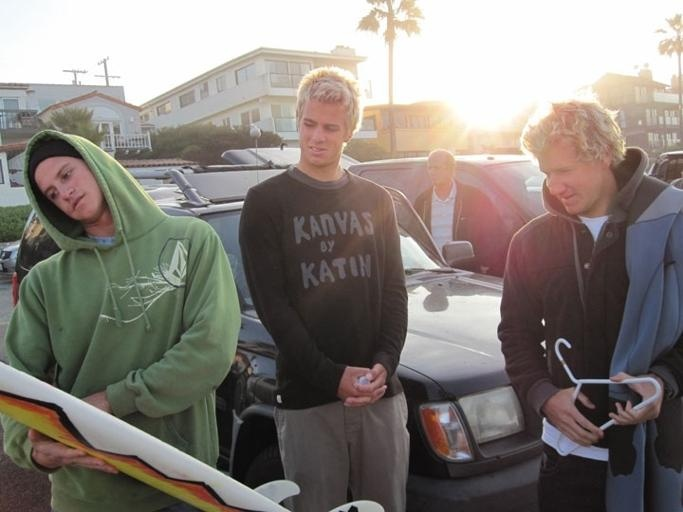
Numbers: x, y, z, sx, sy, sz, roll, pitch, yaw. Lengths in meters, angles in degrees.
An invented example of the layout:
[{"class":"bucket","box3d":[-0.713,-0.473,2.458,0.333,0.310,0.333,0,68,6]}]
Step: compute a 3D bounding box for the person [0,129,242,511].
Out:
[{"class":"person","box3d":[-0.853,0.264,1.982,0.906,1.539,0.603,-4,9,-13]}]
